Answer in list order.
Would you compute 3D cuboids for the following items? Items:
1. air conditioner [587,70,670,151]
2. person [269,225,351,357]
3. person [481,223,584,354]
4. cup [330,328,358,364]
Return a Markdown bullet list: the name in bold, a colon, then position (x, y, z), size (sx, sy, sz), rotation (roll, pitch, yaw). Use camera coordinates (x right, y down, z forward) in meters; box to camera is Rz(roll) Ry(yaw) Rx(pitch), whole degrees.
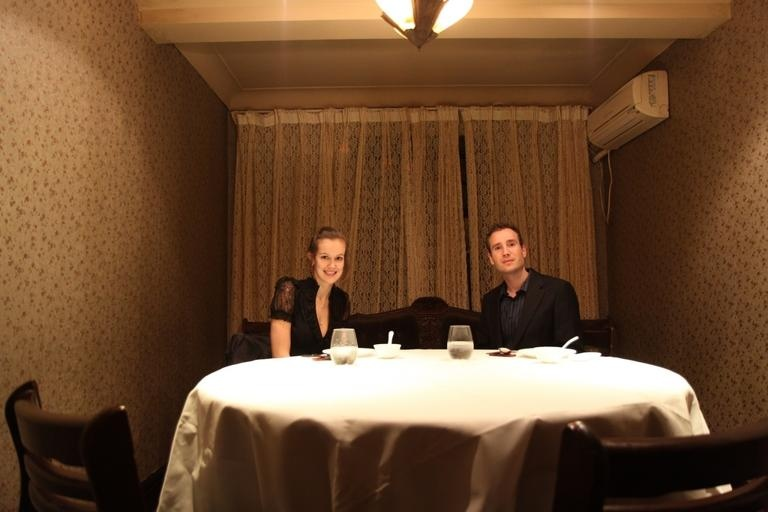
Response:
- **air conditioner**: position (2.017, -1.196, 5.092), size (0.274, 0.398, 0.896), rotation (-6, -6, -10)
- **person**: position (-0.446, 0.212, 3.877), size (0.600, 0.838, 0.327), rotation (3, -9, -32)
- **person**: position (0.975, 0.183, 4.117), size (0.430, 0.886, 0.633), rotation (3, -9, -28)
- **cup**: position (-0.200, 0.462, 2.981), size (0.151, 0.194, 0.148), rotation (-3, -5, 0)
